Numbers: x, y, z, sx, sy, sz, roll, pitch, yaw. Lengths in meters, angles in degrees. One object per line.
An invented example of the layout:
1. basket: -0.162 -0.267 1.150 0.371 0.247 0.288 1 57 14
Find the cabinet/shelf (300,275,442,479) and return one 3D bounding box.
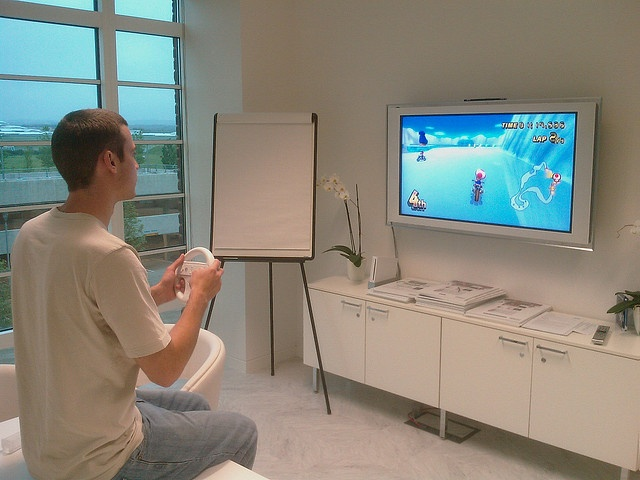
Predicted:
1. cabinet/shelf: 0.499 0.835 3.542 0.492 0.850 1.404 1 0 -36

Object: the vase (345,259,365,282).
1. vase: 0.275 0.234 3.649 0.151 0.168 0.154 0 2 13

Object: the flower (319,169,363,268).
1. flower: 0.185 -0.171 3.798 0.331 0.723 0.571 -1 12 1
